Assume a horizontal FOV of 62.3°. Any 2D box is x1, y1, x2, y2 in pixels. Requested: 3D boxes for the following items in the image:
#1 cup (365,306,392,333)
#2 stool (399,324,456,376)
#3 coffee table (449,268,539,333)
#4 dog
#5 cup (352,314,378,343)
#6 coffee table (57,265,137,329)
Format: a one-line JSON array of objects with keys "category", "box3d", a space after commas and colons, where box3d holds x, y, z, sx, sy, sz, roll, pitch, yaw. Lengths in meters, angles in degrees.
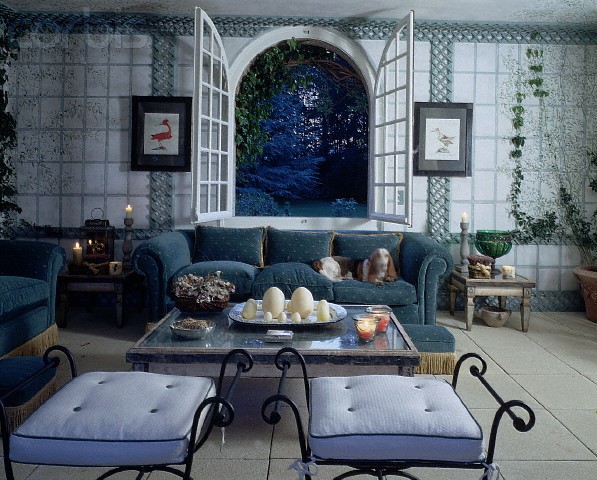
[{"category": "cup", "box3d": [0.467, 0.466, 2.899, 0.131, 0.105, 0.135, -1, 2, 0]}, {"category": "stool", "box3d": [0.935, 0.767, 3.521, 0.360, 0.241, 0.369, 0, 0, 3]}, {"category": "coffee table", "box3d": [1.884, 0.472, 4.809, 0.562, 0.449, 0.764, -1, 3, 3]}, {"category": "dog", "box3d": [0.500, 0.247, 4.410, 0.599, 0.286, 0.342, -1, -5, 18]}, {"category": "cup", "box3d": [0.370, 0.492, 2.752, 0.124, 0.101, 0.128, 0, 4, 0]}, {"category": "coffee table", "box3d": [-1.950, 0.508, 4.831, 0.578, 0.443, 0.565, 1, 3, -2]}]
